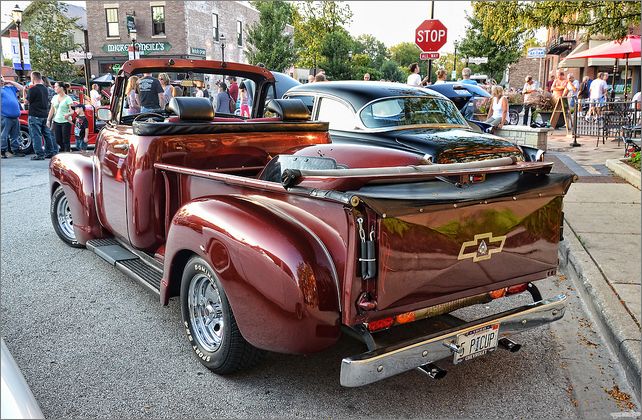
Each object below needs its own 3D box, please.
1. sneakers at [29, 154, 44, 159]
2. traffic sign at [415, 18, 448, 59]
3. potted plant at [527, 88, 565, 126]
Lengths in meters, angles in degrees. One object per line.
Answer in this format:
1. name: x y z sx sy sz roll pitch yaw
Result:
1. sneakers: -9.620 -1.819 14.484 0.471 0.191 0.193 8 5 2
2. traffic sign: 3.680 -5.782 14.271 0.935 1.233 0.576 -2 18 -11
3. potted plant: 11.362 -5.299 21.865 1.850 1.243 1.833 4 15 10
